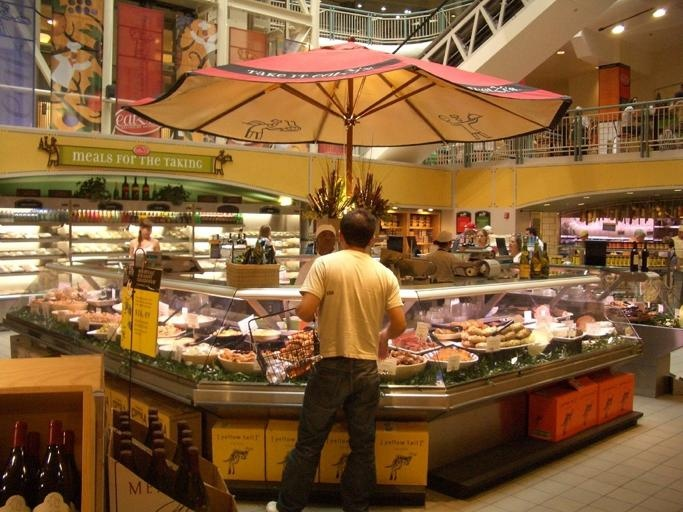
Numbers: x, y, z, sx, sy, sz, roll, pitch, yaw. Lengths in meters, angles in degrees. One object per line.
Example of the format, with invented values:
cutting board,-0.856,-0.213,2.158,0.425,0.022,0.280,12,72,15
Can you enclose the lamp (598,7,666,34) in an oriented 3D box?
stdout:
lamp,6.984,-5.742,14.312,1.640,0.325,0.233,-12,11,7

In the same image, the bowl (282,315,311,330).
bowl,-0.341,0.505,4.463,0.148,0.107,0.146,1,-2,0

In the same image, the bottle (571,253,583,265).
bottle,4.274,0.028,10.729,0.273,0.254,0.269,0,-3,8

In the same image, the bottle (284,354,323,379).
bottle,-0.280,0.820,4.376,0.232,0.075,0.172,-29,0,-21

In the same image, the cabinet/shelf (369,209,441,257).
cabinet/shelf,1.136,-0.473,10.315,1.138,1.009,0.331,1,0,-28

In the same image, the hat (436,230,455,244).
hat,1.198,-0.227,6.853,0.208,0.079,0.231,2,2,12

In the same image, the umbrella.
umbrella,0.138,-1.431,5.494,2.566,0.936,2.610,6,2,11

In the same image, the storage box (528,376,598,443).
storage box,1.965,1.383,5.315,0.766,0.480,0.266,-3,1,-38

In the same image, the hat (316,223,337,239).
hat,-0.118,-0.212,4.861,0.118,0.072,0.114,2,-1,-41

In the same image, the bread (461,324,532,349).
bread,1.288,0.610,4.905,0.426,0.127,0.259,-1,0,-25

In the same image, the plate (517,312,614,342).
plate,2.084,0.657,5.437,0.620,0.100,0.388,-1,1,-32

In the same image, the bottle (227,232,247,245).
bottle,-1.858,-0.333,10.373,0.294,0.142,0.404,1,3,-1

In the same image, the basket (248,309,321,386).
basket,-0.420,0.677,4.413,0.401,0.264,0.595,-7,10,-9
